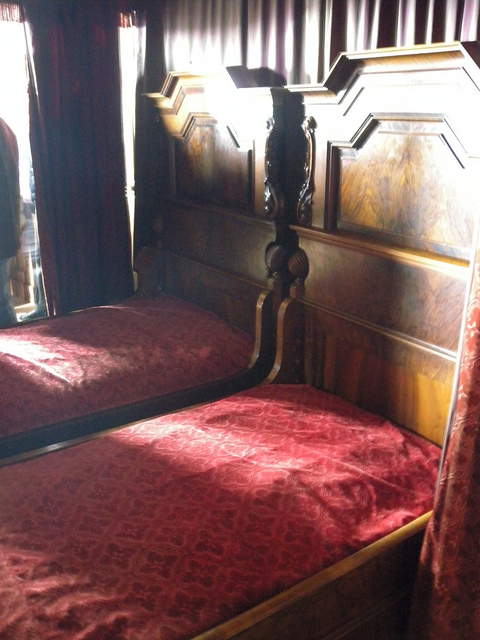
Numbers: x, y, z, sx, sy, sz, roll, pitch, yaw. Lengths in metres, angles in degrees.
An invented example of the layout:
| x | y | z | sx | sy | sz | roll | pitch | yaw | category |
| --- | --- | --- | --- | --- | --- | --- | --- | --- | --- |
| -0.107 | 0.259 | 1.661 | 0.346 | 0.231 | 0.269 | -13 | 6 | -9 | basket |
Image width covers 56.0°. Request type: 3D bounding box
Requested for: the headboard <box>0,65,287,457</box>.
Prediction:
| x | y | z | sx | sy | sz | roll | pitch | yaw | category |
| --- | --- | --- | --- | --- | --- | --- | --- | --- | --- |
| -0.421 | -0.375 | 2.344 | 1.170 | 2.163 | 1.203 | -9 | 19 | -30 | headboard |
